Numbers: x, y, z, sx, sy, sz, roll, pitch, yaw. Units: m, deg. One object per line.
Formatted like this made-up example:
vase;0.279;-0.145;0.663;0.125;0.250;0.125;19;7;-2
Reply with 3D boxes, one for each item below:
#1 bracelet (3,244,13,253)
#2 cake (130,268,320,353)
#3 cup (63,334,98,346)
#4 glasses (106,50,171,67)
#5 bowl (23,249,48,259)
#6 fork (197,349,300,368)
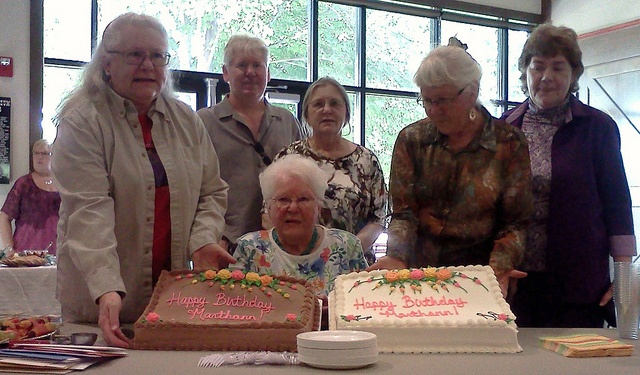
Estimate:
bracelet;-3.033;0.591;5.715;0.049;0.029;0.051;43;0;13
cake;-0.479;0.664;3.160;0.796;0.174;0.444;1;28;1
cup;-1.262;0.810;3.121;0.143;0.056;0.131;2;6;0
glasses;-1.071;-0.764;3.457;0.364;0.093;0.107;0;7;-13
bowl;-2.638;0.608;5.443;0.139;0.044;0.104;1;-2;9
fork;-0.354;0.862;2.950;0.400;0.062;0.088;0;10;-2
